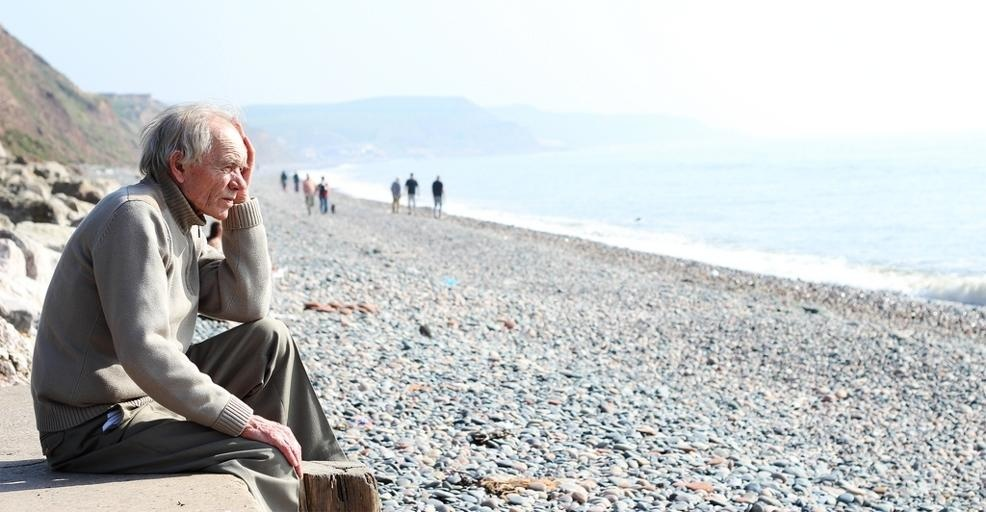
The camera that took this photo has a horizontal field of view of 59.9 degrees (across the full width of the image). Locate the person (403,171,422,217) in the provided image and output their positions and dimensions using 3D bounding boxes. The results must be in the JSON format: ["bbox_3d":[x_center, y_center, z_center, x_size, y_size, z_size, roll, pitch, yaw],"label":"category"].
[{"bbox_3d":[-1.976,-1.504,20.792,0.335,0.934,0.538,2,11,-5],"label":"person"}]

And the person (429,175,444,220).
[{"bbox_3d":[-1.370,-1.426,20.850,0.280,0.956,0.775,2,11,-6],"label":"person"}]

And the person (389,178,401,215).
[{"bbox_3d":[-2.361,-1.443,20.893,0.239,0.753,0.541,1,11,-7],"label":"person"}]
